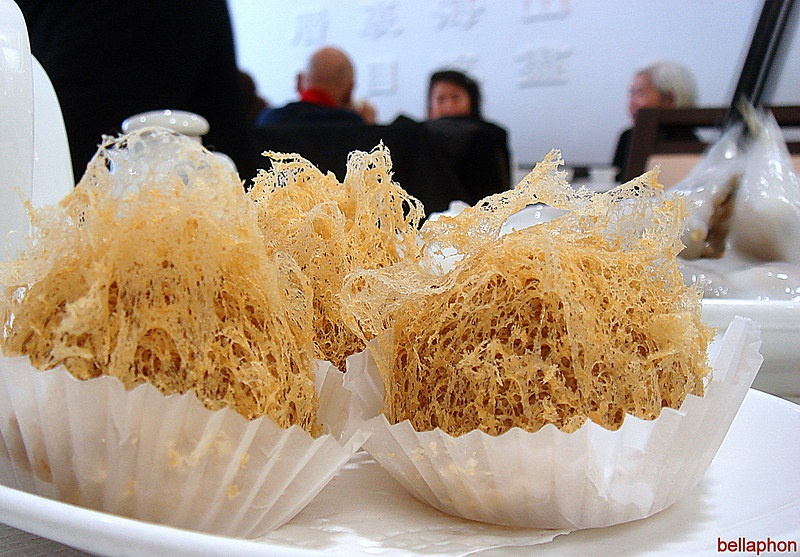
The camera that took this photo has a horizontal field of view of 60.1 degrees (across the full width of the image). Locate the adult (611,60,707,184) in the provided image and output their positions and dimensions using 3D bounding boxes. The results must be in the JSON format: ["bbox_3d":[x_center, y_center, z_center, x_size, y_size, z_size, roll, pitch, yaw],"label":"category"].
[{"bbox_3d":[1.156,-0.709,3.148,0.383,0.556,1.195,9,18,20],"label":"adult"}]

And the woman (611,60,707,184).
[{"bbox_3d":[1.183,-0.706,3.144,0.376,0.556,1.205,8,18,17],"label":"woman"}]
